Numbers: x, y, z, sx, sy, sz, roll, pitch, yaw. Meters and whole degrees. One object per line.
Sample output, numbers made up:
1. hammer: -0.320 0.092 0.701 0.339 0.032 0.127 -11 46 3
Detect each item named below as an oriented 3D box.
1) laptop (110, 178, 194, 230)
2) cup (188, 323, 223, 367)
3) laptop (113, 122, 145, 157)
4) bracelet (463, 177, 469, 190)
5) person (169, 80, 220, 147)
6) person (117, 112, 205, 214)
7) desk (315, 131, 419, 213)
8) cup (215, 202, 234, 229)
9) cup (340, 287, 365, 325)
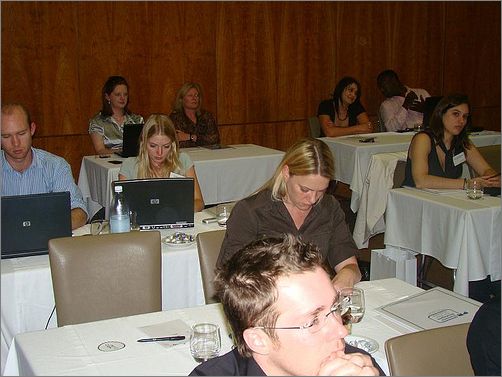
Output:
1. laptop: -0.668 -0.007 2.916 0.504 0.405 0.413 -1 32 -14
2. cup: -0.165 0.559 1.496 0.118 0.140 0.121 -2 -3 0
3. laptop: -1.228 -0.476 4.170 0.268 0.394 0.366 5 4 -19
4. bracelet: 1.793 -0.043 3.397 0.024 0.093 0.084 8 -3 1
5. person: -0.808 -0.968 5.637 0.609 1.026 0.493 -4 1 -19
6. person: -0.807 -0.135 3.507 0.677 1.037 0.523 -12 32 -27
7. desk: 1.408 -0.375 5.219 1.006 0.560 1.096 1 10 21
8. cup: -0.201 0.191 3.008 0.136 0.270 0.136 3 -16 1
9. cup: 0.433 0.486 1.695 0.076 0.090 0.079 -3 -12 -1
